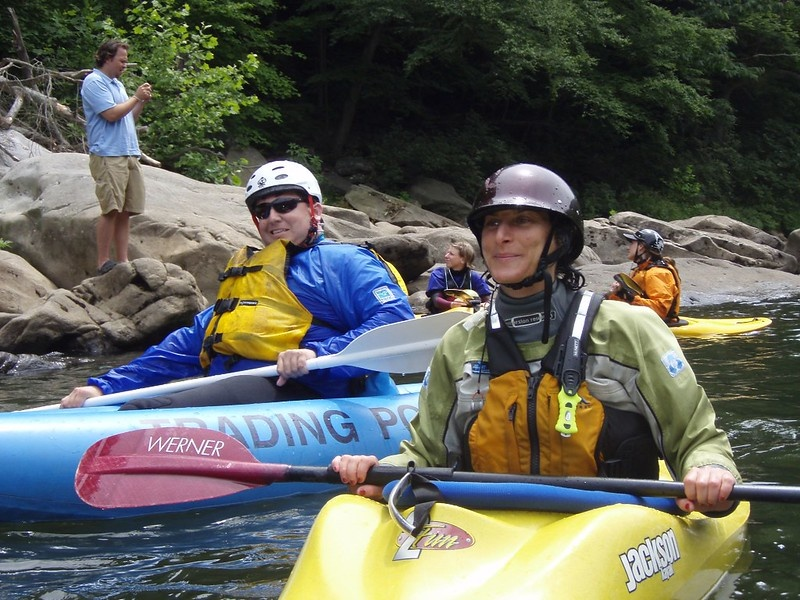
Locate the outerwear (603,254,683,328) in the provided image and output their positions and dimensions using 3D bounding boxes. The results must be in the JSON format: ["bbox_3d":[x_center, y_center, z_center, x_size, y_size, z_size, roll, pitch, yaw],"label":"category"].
[{"bbox_3d":[2.376,-0.068,10.167,0.884,0.687,0.836,5,14,14],"label":"outerwear"}]

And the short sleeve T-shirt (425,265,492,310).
[{"bbox_3d":[0.589,-0.107,10.460,0.565,0.320,0.559,2,-20,-11],"label":"short sleeve T-shirt"}]

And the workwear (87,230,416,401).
[{"bbox_3d":[-0.789,0.085,5.861,1.639,0.529,1.058,-8,10,-27],"label":"workwear"}]

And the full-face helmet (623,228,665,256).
[{"bbox_3d":[2.518,-0.614,10.233,0.491,0.201,0.293,14,5,12],"label":"full-face helmet"}]

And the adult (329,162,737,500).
[{"bbox_3d":[0.625,0.286,4.561,1.854,1.417,0.880,-3,6,35],"label":"adult"}]

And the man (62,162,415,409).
[{"bbox_3d":[-0.677,-0.058,6.105,1.968,1.101,1.571,1,0,-45],"label":"man"}]

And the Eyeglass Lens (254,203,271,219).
[{"bbox_3d":[-0.795,-0.540,5.979,0.108,0.090,0.039,-7,39,6],"label":"Eyeglass Lens"}]

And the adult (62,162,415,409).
[{"bbox_3d":[-0.681,-0.060,6.118,1.968,1.101,1.571,1,0,-45],"label":"adult"}]

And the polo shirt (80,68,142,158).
[{"bbox_3d":[-2.668,-1.750,9.361,0.476,0.789,0.409,10,11,21],"label":"polo shirt"}]

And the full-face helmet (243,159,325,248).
[{"bbox_3d":[-0.709,-0.619,6.101,0.479,0.430,0.431,-10,-4,-38],"label":"full-face helmet"}]

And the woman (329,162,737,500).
[{"bbox_3d":[0.693,0.274,4.572,1.024,1.545,1.975,-8,3,-44],"label":"woman"}]

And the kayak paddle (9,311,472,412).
[{"bbox_3d":[-1.001,0.393,6.217,3.145,0.286,0.298,-7,22,3],"label":"kayak paddle"}]

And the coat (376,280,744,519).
[{"bbox_3d":[0.612,0.356,4.570,1.794,1.033,0.782,5,24,23],"label":"coat"}]
